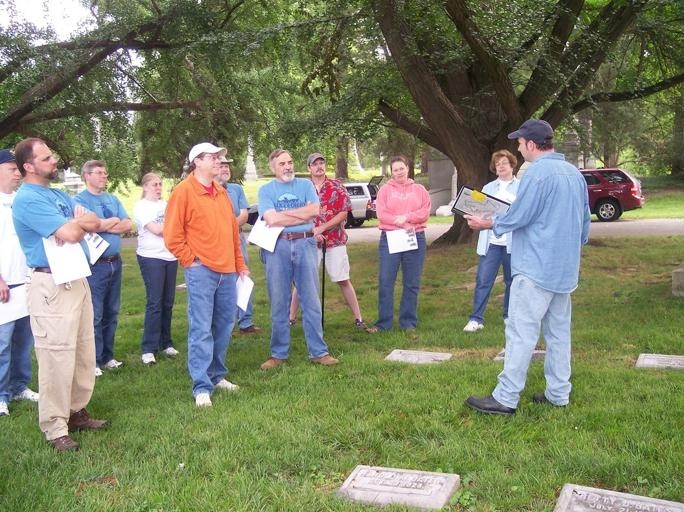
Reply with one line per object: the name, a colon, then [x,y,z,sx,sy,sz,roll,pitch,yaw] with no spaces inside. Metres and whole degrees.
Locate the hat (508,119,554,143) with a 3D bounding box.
hat: [1.814,-1.198,5.945,0.333,0.179,0.246,5,15,26]

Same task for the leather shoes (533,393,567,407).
leather shoes: [1.968,1.381,5.869,0.098,0.120,0.267,-6,15,-32]

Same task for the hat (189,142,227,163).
hat: [-1.461,-1.161,6.649,0.337,0.152,0.239,-14,5,6]

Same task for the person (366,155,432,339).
person: [0.820,-0.196,8.682,0.775,2.391,0.732,-1,9,12]

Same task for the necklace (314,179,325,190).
necklace: [-0.337,-1.016,8.748,0.162,0.134,0.142,-5,-3,41]

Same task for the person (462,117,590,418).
person: [1.815,0.070,5.778,1.182,2.668,0.551,-6,9,-22]

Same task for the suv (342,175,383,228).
suv: [1.157,-2.337,25.984,2.140,1.498,1.315,2,7,14]

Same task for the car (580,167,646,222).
car: [8.987,-2.074,20.605,1.673,1.686,0.812,1,9,20]

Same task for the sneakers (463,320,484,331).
sneakers: [1.797,0.948,8.514,0.122,0.140,0.299,-4,-3,35]

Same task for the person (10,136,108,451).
person: [-2.556,0.305,5.674,0.689,2.766,0.876,-8,10,-29]

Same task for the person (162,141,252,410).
person: [-1.449,0.132,6.606,0.614,2.671,0.975,4,11,38]
